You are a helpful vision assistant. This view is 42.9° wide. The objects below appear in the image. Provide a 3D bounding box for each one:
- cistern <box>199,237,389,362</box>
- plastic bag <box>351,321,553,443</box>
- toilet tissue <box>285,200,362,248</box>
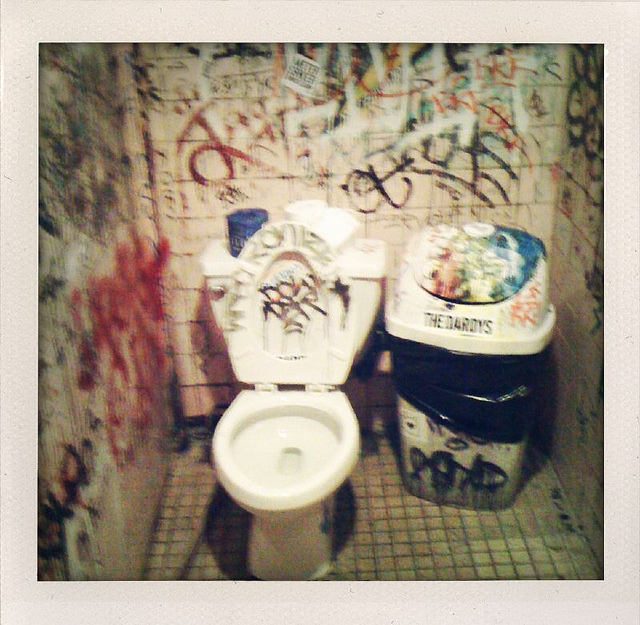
[{"bbox_3d":[-0.065,-0.032,2.292,0.495,0.370,0.343,0,36,4],"label":"cistern"},{"bbox_3d":[0.393,0.219,2.300,0.465,0.371,0.373,4,27,8],"label":"plastic bag"},{"bbox_3d":[0.008,-0.248,2.284,0.214,0.125,0.063,-4,20,2],"label":"toilet tissue"}]
